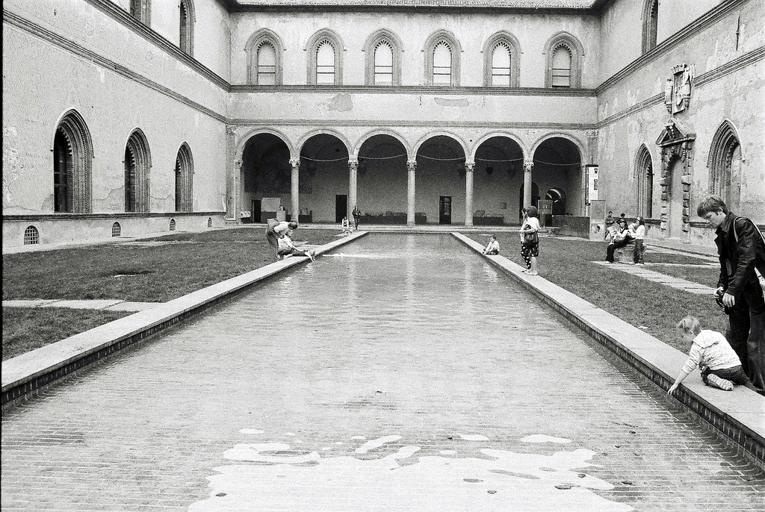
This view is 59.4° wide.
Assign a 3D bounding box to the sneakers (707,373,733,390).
[{"bbox_3d":[3.542,1.324,7.070,0.228,0.119,0.100,25,3,32],"label":"sneakers"}]

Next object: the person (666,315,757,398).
[{"bbox_3d":[3.503,1.055,7.313,0.935,0.704,0.790,-16,23,-20],"label":"person"}]

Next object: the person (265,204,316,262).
[{"bbox_3d":[-2.814,-0.497,19.459,1.817,1.371,0.975,5,6,5],"label":"person"}]
